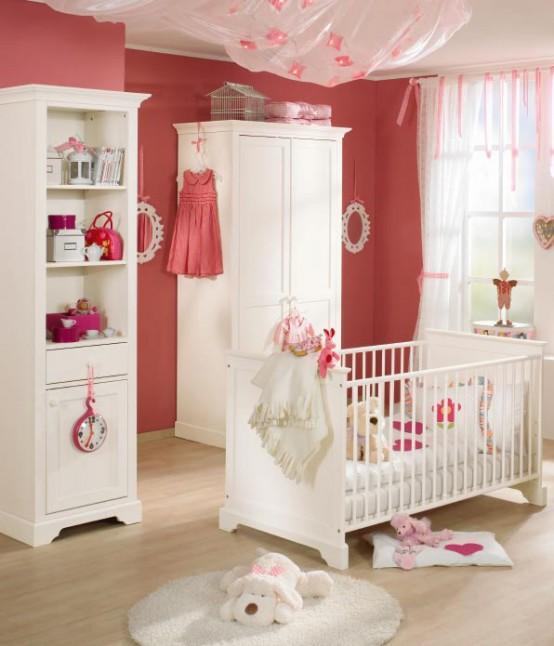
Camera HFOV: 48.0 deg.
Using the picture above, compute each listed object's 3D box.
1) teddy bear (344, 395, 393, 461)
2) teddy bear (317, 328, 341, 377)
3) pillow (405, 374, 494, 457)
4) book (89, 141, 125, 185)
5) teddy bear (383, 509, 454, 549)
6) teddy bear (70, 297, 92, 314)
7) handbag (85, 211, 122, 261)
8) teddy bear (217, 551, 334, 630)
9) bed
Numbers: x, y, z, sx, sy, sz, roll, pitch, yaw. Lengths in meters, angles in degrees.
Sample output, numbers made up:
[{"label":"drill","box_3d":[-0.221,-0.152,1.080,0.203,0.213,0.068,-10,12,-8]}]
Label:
[{"label":"teddy bear","box_3d":[0.406,0.470,2.728,0.205,0.268,0.204,3,5,33]},{"label":"teddy bear","box_3d":[0.219,0.114,2.473,0.077,0.155,0.148,-7,-16,16]},{"label":"pillow","box_3d":[0.830,0.412,3.063,0.140,0.434,0.430,4,5,37]},{"label":"book","box_3d":[-0.758,-0.711,2.773,0.187,0.229,0.182,-3,10,-24]},{"label":"teddy bear","box_3d":[0.595,0.866,2.583,0.178,0.071,0.164,1,-2,-34]},{"label":"teddy bear","box_3d":[-0.918,-0.085,2.929,0.089,0.087,0.090,-3,5,-38]},{"label":"handbag","box_3d":[-0.815,-0.403,2.883,0.214,0.193,0.087,10,9,33]},{"label":"teddy bear","box_3d":[-0.006,0.885,2.104,0.374,0.130,0.410,0,-1,-2]},{"label":"bed","box_3d":[0.492,0.437,3.101,1.450,0.815,0.946,-3,5,-37]}]
